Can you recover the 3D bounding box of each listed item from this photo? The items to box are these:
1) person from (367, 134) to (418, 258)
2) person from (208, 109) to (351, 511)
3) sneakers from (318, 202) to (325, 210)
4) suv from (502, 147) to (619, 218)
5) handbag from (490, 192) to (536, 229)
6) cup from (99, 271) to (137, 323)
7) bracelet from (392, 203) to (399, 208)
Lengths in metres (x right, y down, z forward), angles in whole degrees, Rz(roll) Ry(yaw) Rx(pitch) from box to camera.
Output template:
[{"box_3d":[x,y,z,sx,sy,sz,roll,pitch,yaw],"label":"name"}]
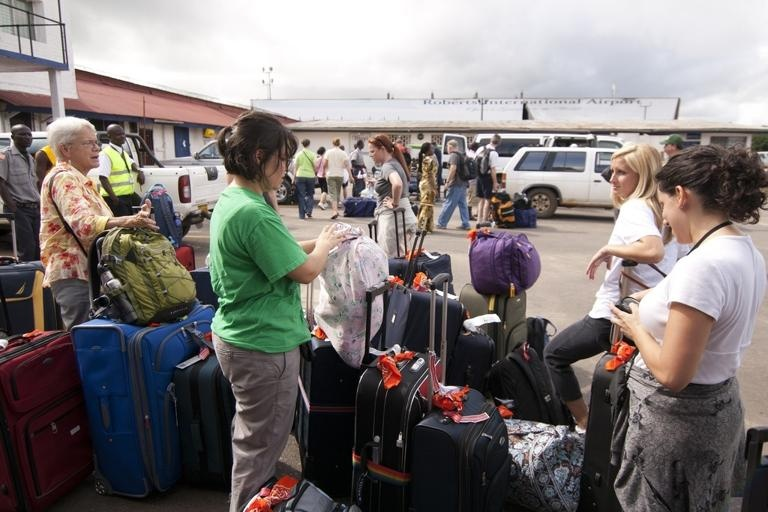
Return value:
[{"box_3d":[0.146,-0.767,6.483,0.575,1.468,0.826,0,11,-1],"label":"person"},{"box_3d":[-0.647,0.346,3.092,0.661,2.339,0.434,-4,12,-19],"label":"person"},{"box_3d":[-1.787,-1.502,15.769,0.149,0.119,0.358,-12,3,3],"label":"sneakers"},{"box_3d":[4.779,-2.254,14.725,3.453,1.548,1.905,-4,18,8],"label":"suv"},{"box_3d":[3.121,-1.198,12.974,1.055,1.018,0.768,-5,14,-4],"label":"handbag"},{"box_3d":[-1.761,0.266,3.550,0.107,0.315,0.127,-28,1,28],"label":"cup"},{"box_3d":[0.162,-0.611,6.324,0.044,0.045,0.027,7,21,10],"label":"bracelet"}]
